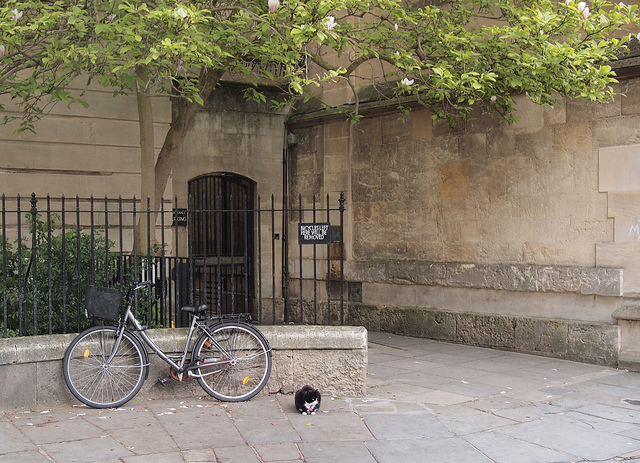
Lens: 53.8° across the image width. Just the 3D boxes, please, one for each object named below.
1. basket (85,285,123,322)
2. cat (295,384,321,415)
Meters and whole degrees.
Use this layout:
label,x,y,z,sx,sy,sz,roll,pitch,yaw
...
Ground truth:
label,x,y,z,sx,sy,sz,roll,pitch,yaw
basket,-2.518,0.804,7.386,0.457,0.444,0.171,9,16,0
cat,-0.151,1.914,7.174,0.281,0.307,0.145,1,3,-2
